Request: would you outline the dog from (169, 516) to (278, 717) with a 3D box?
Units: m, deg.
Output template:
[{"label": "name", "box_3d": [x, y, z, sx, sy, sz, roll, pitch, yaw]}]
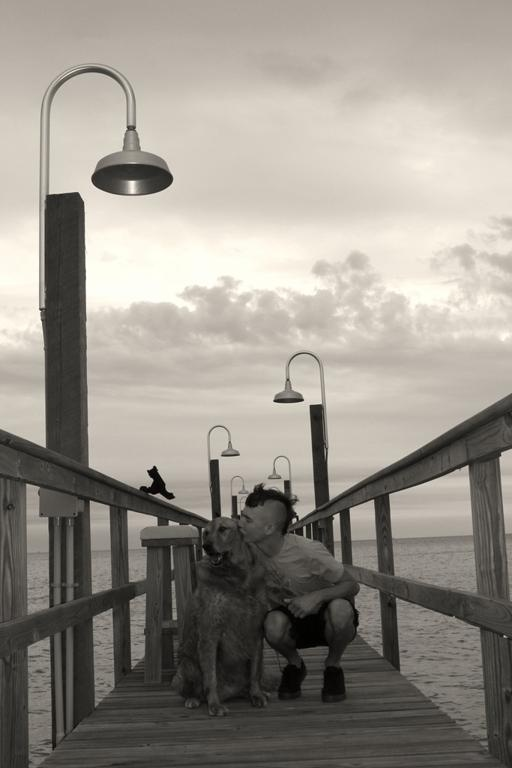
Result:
[{"label": "dog", "box_3d": [-0.131, 0.958, 4.401, 0.390, 0.672, 0.475, -1, 0, -15]}]

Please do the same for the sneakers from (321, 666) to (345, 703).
[{"label": "sneakers", "box_3d": [0.321, 1.255, 4.379, 0.101, 0.127, 0.114, -1, 0, 3]}]
